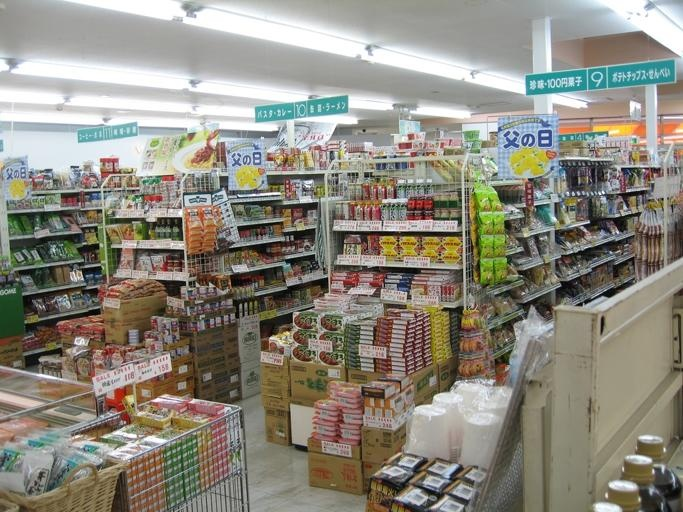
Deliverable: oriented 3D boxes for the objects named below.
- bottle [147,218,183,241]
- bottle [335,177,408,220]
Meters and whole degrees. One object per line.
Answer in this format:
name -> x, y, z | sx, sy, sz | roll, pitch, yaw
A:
bottle -> -2.033, -0.300, 6.083 | 0.260, 0.216, 0.119 | 4, 8, 23
bottle -> 0.279, -0.585, 5.469 | 0.455, 0.289, 0.629 | 3, 7, 25
